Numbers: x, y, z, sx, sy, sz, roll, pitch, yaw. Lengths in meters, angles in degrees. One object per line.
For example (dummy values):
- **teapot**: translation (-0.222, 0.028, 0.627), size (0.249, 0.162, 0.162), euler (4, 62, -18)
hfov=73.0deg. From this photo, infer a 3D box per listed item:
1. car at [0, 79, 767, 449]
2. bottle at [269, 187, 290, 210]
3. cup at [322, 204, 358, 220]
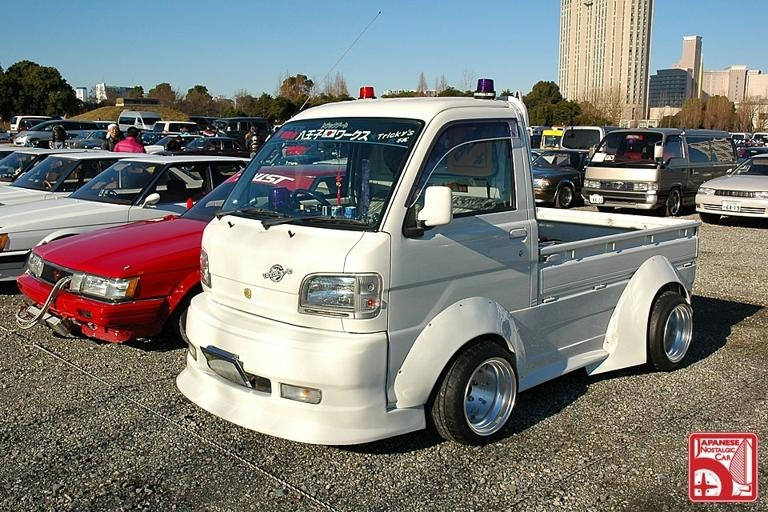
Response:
- **car**: translation (0.677, 0.135, 5.162), size (4.515, 2.317, 2.836), euler (-6, 9, -39)
- **bottle**: translation (-0.880, -0.487, 4.406), size (0.214, 0.212, 0.192), euler (-7, 15, -27)
- **cup**: translation (-0.353, -0.344, 4.075), size (0.141, 0.067, 0.200), euler (-3, 10, -45)
